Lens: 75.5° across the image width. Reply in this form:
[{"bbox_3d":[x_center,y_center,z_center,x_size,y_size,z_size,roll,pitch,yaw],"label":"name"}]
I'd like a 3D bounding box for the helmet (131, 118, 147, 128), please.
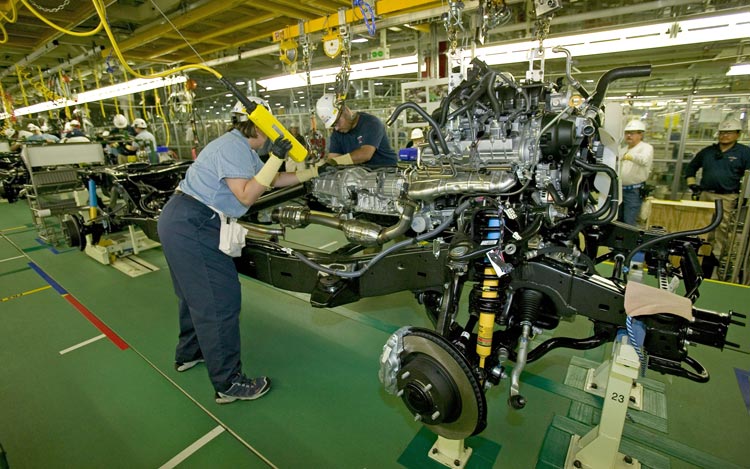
[{"bbox_3d":[-5.365,-2.497,10.897,0.332,0.170,0.246,24,32,26],"label":"helmet"}]

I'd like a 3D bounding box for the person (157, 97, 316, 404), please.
[{"bbox_3d":[-1.669,0.326,5.493,1.268,3.102,0.907,-13,19,-23],"label":"person"}]

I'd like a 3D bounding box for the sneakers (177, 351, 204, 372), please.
[{"bbox_3d":[-2.248,1.573,5.974,0.392,0.167,0.155,-18,-21,-21],"label":"sneakers"}]

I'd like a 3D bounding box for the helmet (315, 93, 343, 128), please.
[{"bbox_3d":[-0.568,-1.626,6.225,0.215,0.396,0.286,10,-10,-36],"label":"helmet"}]

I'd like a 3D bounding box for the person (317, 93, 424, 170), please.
[{"bbox_3d":[-0.236,-1.377,6.460,0.969,1.022,0.805,-5,17,1],"label":"person"}]

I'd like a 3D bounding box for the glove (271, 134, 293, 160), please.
[{"bbox_3d":[-1.011,-0.980,5.398,0.183,0.264,0.328,9,22,37],"label":"glove"}]

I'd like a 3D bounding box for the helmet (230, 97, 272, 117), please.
[{"bbox_3d":[-1.463,-1.519,5.731,0.401,0.207,0.311,4,10,42],"label":"helmet"}]

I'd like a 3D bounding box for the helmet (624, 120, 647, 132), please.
[{"bbox_3d":[4.596,-1.891,8.378,0.434,0.216,0.328,-3,14,-9],"label":"helmet"}]

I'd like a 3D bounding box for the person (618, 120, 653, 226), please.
[{"bbox_3d":[4.525,-1.078,8.410,0.470,1.769,0.554,4,20,26],"label":"person"}]
